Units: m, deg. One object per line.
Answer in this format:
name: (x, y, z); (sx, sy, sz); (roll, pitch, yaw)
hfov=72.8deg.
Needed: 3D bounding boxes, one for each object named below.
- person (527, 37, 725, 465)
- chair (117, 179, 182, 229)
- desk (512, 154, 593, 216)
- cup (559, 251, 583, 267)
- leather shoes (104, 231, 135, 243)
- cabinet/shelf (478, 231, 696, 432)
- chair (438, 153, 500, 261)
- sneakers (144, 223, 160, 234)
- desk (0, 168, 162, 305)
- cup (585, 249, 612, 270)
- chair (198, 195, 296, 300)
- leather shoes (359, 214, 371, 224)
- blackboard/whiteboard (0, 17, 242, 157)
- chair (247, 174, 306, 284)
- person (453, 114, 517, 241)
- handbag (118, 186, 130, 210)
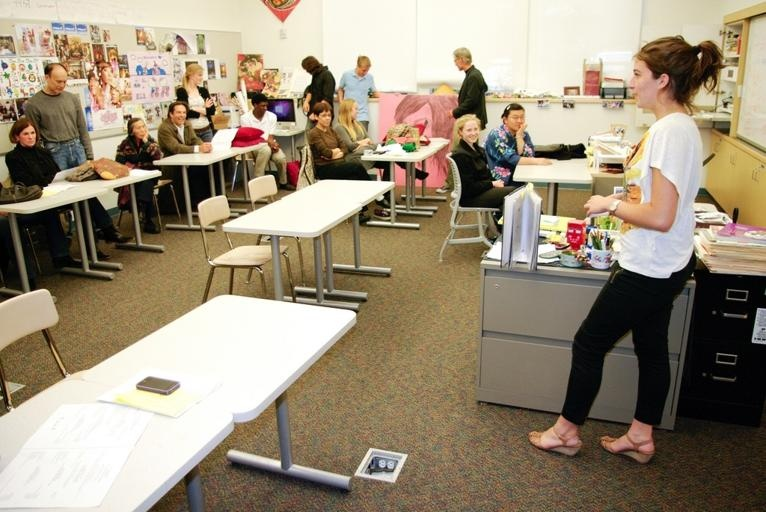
person: (1.213, 0.042, 2.675); (0.711, 2.171, 0.505); (4, 21, 14)
chair: (-2.964, -0.660, 6.599); (0.582, 0.856, 0.504); (8, 19, 20)
desk: (1.695, -0.725, 5.147); (0.510, 0.461, 0.933); (5, 23, 11)
cup: (1.091, 0.013, 3.011); (0.088, 0.052, 0.090); (-1, 12, 0)
leather shoes: (-3.020, -0.220, 6.119); (0.384, 0.176, 0.123); (-4, 7, -10)
cabinet/shelf: (1.230, 0.509, 3.297); (1.177, 0.877, 0.653); (5, 8, 20)
chair: (0.993, -0.535, 5.653); (0.742, 1.052, 0.725); (0, 10, 3)
sneakers: (-2.881, -0.358, 6.526); (0.286, 0.111, 0.104); (13, 32, 44)
desk: (-3.027, -0.181, 5.195); (0.625, 0.689, 1.372); (7, 16, 15)
cup: (1.228, 0.018, 2.955); (0.125, 0.089, 0.094); (-1, 11, 11)
chair: (-1.138, -0.011, 4.359); (0.662, 0.874, 0.588); (7, 20, 14)
leather shoes: (-0.219, -0.471, 6.655); (0.152, 0.048, 0.144); (-16, -1, -8)
blackboard/whiteboard: (-3.390, -2.150, 6.659); (0.052, 0.953, 2.879); (9, 18, 28)
chair: (-0.944, -0.283, 4.767); (0.578, 0.787, 0.526); (3, 22, -8)
person: (1.081, -0.796, 5.567); (0.749, 1.301, 0.560); (-5, 13, -1)
handbag: (-3.131, -0.714, 6.348); (0.105, 0.287, 0.224); (-2, 4, -38)
